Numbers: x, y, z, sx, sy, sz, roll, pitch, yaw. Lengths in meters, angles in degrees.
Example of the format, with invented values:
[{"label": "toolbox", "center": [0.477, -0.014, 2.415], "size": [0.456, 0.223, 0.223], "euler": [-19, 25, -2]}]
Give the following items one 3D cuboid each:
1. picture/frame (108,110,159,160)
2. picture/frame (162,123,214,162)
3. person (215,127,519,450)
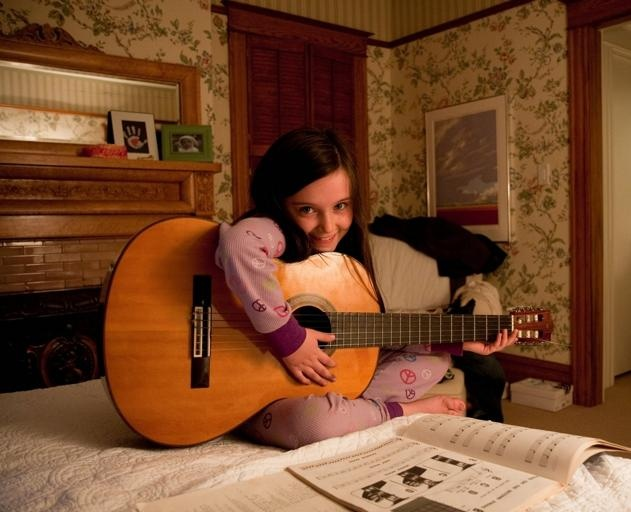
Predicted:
[{"label": "picture/frame", "center": [-1.034, -0.670, 2.845], "size": [0.270, 0.305, 0.106], "euler": [-25, 6, -35]}, {"label": "picture/frame", "center": [-0.744, -0.642, 2.916], "size": [0.281, 0.212, 0.026], "euler": [0, -13, -14]}, {"label": "person", "center": [0.110, 0.147, 1.362], "size": [1.009, 0.488, 0.140], "euler": [-13, 25, 14]}]
